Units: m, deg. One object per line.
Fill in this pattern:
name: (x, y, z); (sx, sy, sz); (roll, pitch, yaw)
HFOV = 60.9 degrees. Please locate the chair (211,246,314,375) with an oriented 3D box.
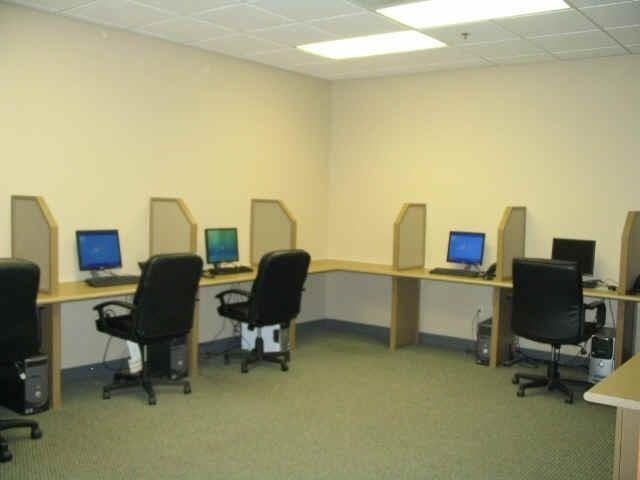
chair: (-0.556, 0.697, 5.409); (0.771, 1.095, 0.789); (0, 0, 32)

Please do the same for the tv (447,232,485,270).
tv: (1.620, 0.113, 6.017); (0.401, 0.389, 0.133); (5, -5, 35)

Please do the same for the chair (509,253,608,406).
chair: (2.118, 0.780, 4.959); (0.896, 1.202, 0.774); (0, 3, -29)

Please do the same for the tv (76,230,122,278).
tv: (-2.017, 0.120, 4.919); (0.440, 0.418, 0.107); (-1, -3, -42)

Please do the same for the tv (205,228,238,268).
tv: (-1.052, 0.083, 5.718); (0.431, 0.412, 0.151); (-1, -2, -42)
